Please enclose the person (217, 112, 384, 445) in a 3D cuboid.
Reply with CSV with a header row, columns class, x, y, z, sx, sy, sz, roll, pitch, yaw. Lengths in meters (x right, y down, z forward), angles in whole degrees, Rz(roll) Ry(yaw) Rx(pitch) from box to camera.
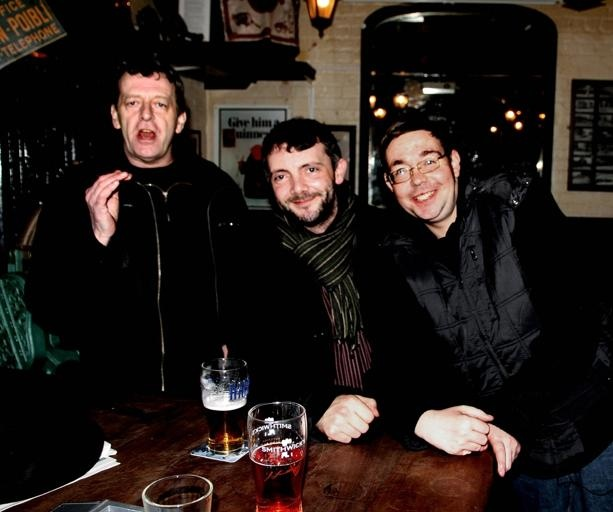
class,x,y,z,sx,sy,sz,roll,pitch,yaw
person,-0.014,-0.004,2.555,0.749,1.245,0.389,-4,-2,0
